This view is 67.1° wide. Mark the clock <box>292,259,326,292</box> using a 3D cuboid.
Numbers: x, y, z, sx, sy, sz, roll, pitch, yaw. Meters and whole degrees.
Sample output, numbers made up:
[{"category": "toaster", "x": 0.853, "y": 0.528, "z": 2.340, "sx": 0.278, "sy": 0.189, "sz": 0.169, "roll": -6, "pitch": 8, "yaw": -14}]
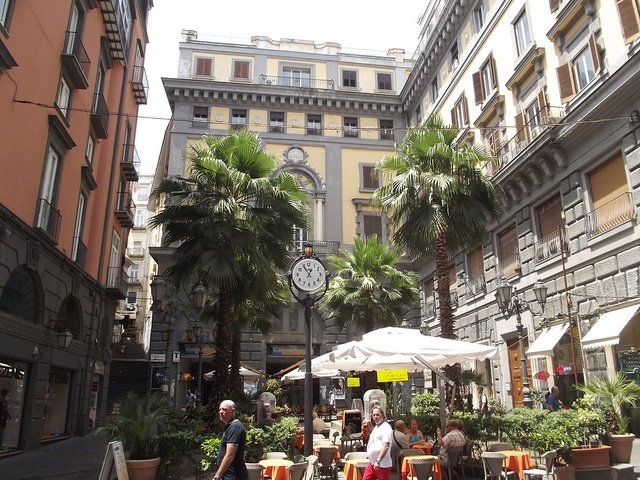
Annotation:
[{"category": "clock", "x": -0.281, "y": 0.829, "z": 11.464, "sx": 0.603, "sy": 0.721, "sz": 0.218, "roll": 2, "pitch": -12, "yaw": -6}]

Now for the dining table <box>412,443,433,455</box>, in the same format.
[{"category": "dining table", "x": 2.665, "y": 5.374, "z": 12.482, "sx": 0.326, "sy": 0.375, "sz": 0.356, "roll": 3, "pitch": -18, "yaw": -11}]

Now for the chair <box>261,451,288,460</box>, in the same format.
[{"category": "chair", "x": -1.107, "y": 5.162, "z": 11.523, "sx": 0.523, "sy": 0.137, "sz": 0.179, "roll": 2, "pitch": -22, "yaw": -9}]

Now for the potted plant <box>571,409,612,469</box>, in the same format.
[{"category": "potted plant", "x": 6.429, "y": 4.800, "z": 11.496, "sx": 0.869, "sy": 1.430, "sz": 0.828, "roll": -9, "pitch": -11, "yaw": 24}]

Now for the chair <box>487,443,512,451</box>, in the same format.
[{"category": "chair", "x": 4.375, "y": 5.006, "z": 11.672, "sx": 0.635, "sy": 0.177, "sz": 0.225, "roll": 5, "pitch": -23, "yaw": -14}]

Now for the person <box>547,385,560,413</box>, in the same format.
[{"category": "person", "x": 7.842, "y": 5.275, "z": 16.112, "sx": 0.444, "sy": 0.811, "sz": 1.176, "roll": -10, "pitch": -24, "yaw": 23}]
